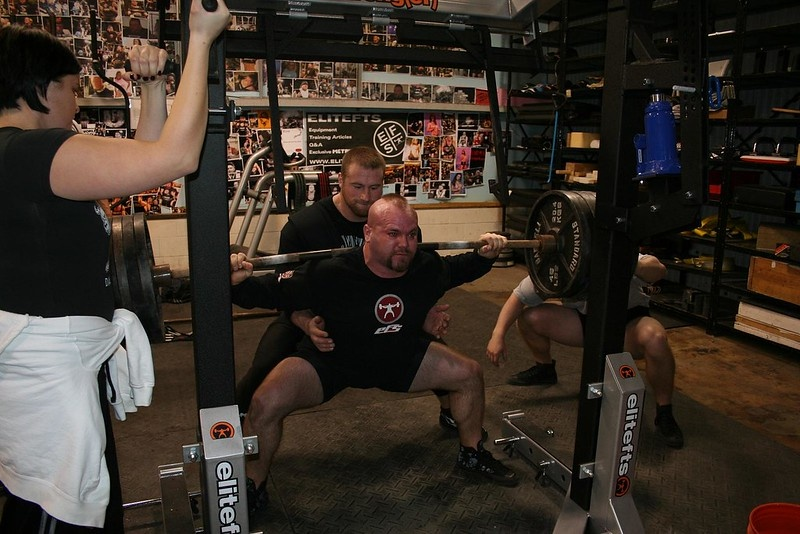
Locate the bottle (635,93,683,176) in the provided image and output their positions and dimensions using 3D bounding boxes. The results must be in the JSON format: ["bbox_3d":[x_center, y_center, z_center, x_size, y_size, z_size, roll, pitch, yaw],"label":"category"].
[{"bbox_3d":[0.912,-0.463,2.022,0.132,0.290,0.146,-5,15,-15],"label":"bottle"}]

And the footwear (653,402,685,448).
[{"bbox_3d":[1.511,0.904,3.230,0.104,0.154,0.269,-6,1,-2],"label":"footwear"}]

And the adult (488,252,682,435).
[{"bbox_3d":[0.983,0.458,3.122,1.016,0.966,0.609,3,6,38],"label":"adult"}]

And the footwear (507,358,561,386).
[{"bbox_3d":[0.911,0.721,3.914,0.360,0.160,0.143,1,2,1],"label":"footwear"}]

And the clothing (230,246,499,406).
[{"bbox_3d":[-0.193,0.325,2.935,1.023,0.483,0.289,-3,5,-18],"label":"clothing"}]

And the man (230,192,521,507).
[{"bbox_3d":[-0.148,0.498,3.083,1.780,1.685,0.867,-1,4,-18],"label":"man"}]

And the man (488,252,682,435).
[{"bbox_3d":[0.983,0.458,3.122,1.016,0.966,0.609,3,6,38],"label":"man"}]

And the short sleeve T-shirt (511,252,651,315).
[{"bbox_3d":[1.070,0.074,3.407,0.680,0.371,0.376,-2,-1,-12],"label":"short sleeve T-shirt"}]

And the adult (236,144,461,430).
[{"bbox_3d":[-0.374,0.196,3.440,1.707,1.756,0.949,-1,12,-27],"label":"adult"}]

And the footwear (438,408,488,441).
[{"bbox_3d":[0.338,0.912,3.342,0.117,0.146,0.345,1,-1,-43],"label":"footwear"}]

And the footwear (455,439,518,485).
[{"bbox_3d":[0.446,0.999,2.995,0.351,0.197,0.139,7,9,11],"label":"footwear"}]

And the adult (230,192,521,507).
[{"bbox_3d":[-0.148,0.498,3.083,1.780,1.685,0.867,-1,4,-18],"label":"adult"}]
